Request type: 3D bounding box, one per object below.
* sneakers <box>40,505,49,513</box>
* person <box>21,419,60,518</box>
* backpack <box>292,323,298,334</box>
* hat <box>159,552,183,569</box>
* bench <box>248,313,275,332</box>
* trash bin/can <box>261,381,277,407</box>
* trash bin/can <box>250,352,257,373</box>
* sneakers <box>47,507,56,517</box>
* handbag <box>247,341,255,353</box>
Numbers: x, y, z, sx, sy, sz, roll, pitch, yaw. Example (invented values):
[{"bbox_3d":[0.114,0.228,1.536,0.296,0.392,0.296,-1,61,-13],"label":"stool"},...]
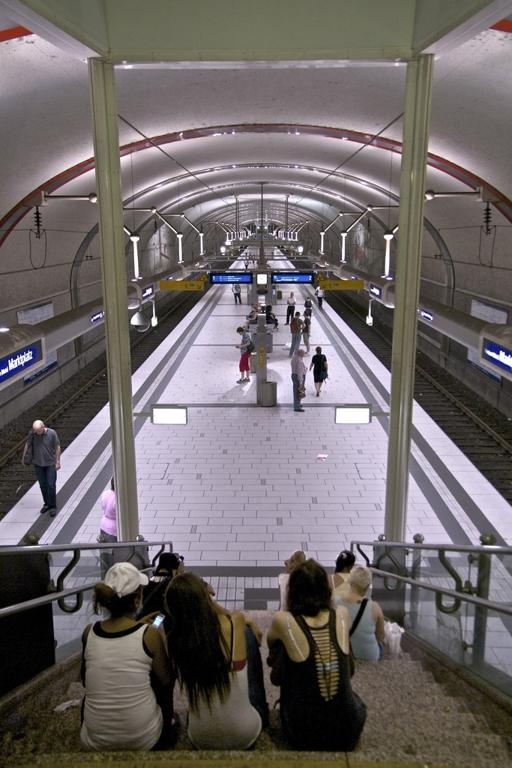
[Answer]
[{"bbox_3d":[-3.547,2.089,8.180,0.076,0.087,0.211,0,9,-5],"label":"sneakers"},{"bbox_3d":[-3.420,1.346,7.831,0.492,1.711,0.853,-4,10,-25],"label":"person"},{"bbox_3d":[1.292,-1.773,16.297,0.262,0.420,0.223,1,11,4],"label":"backpack"},{"bbox_3d":[-0.661,1.366,3.819,0.163,0.122,0.173,-1,-9,-1],"label":"hat"},{"bbox_3d":[0.213,-2.488,19.512,1.141,0.795,1.111,0,7,1],"label":"bench"},{"bbox_3d":[0.346,0.293,13.038,0.533,0.827,0.456,-2,9,-6],"label":"trash bin/can"},{"bbox_3d":[-0.076,-0.629,16.113,0.202,0.643,0.448,1,9,4],"label":"trash bin/can"},{"bbox_3d":[-3.374,2.115,8.103,0.058,0.131,0.180,3,-29,-10],"label":"sneakers"},{"bbox_3d":[-0.131,-1.099,14.903,0.149,0.306,0.509,2,10,8],"label":"handbag"}]
